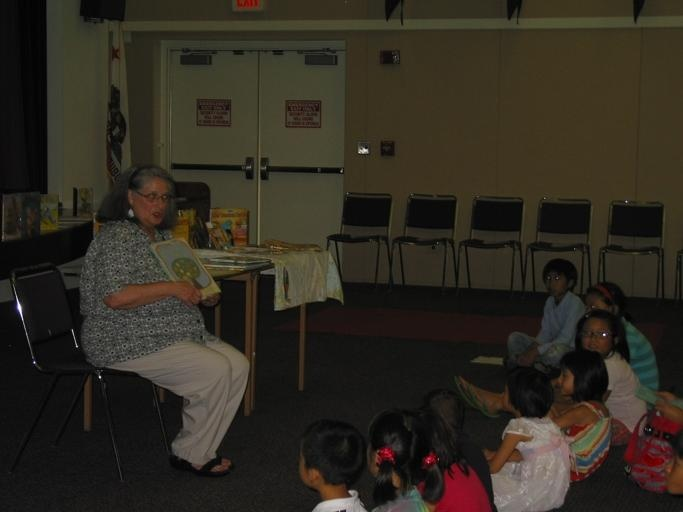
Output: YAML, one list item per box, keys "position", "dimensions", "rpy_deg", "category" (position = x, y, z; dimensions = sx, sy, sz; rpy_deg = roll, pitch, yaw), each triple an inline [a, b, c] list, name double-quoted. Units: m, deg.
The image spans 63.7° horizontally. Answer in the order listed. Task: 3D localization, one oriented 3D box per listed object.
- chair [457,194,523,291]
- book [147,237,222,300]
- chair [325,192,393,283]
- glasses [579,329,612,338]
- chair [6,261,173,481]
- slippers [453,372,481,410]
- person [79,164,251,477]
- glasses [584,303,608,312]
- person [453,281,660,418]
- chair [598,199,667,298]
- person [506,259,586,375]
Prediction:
- position: [1.861, -0.136, 6.810]
  dimensions: [0.715, 1.317, 0.705]
  rpy_deg: [6, 2, 34]
  category: "chair"
- position: [-0.772, 0.049, 2.734]
  dimensions: [0.196, 0.384, 0.039]
  rpy_deg: [-6, 45, 12]
  category: "book"
- position: [0.280, -0.228, 7.231]
  dimensions: [0.794, 1.208, 0.795]
  rpy_deg: [1, 7, 2]
  category: "chair"
- position: [1.334, 0.403, 2.868]
  dimensions: [0.130, 0.046, 0.033]
  rpy_deg: [6, 9, 31]
  category: "glasses"
- position: [-1.247, 0.559, 2.751]
  dimensions: [0.601, 1.021, 0.539]
  rpy_deg: [3, 3, -1]
  category: "chair"
- position: [0.757, 0.818, 3.210]
  dimensions: [0.082, 0.119, 0.276]
  rpy_deg: [-12, -4, 30]
  category: "slippers"
- position: [-1.013, 0.201, 3.585]
  dimensions: [1.119, 2.431, 1.132]
  rpy_deg: [2, 3, 2]
  category: "person"
- position: [1.568, 0.312, 3.364]
  dimensions: [0.104, 0.068, 0.082]
  rpy_deg: [3, -1, -22]
  category: "glasses"
- position: [1.374, 0.548, 3.492]
  dimensions: [1.126, 0.968, 0.537]
  rpy_deg: [-7, 31, 15]
  category: "person"
- position: [3.755, -0.102, 7.048]
  dimensions: [0.696, 1.351, 0.828]
  rpy_deg: [5, 12, 31]
  category: "chair"
- position: [1.498, 0.430, 3.995]
  dimensions: [0.566, 0.850, 0.564]
  rpy_deg: [0, 3, -2]
  category: "person"
